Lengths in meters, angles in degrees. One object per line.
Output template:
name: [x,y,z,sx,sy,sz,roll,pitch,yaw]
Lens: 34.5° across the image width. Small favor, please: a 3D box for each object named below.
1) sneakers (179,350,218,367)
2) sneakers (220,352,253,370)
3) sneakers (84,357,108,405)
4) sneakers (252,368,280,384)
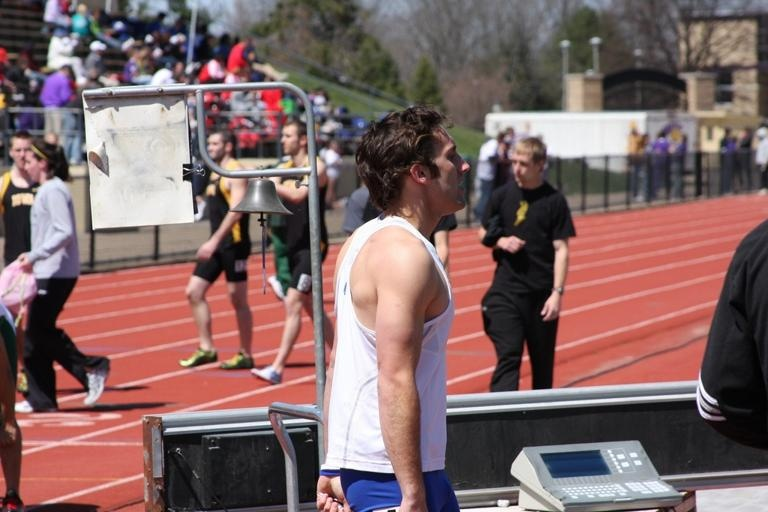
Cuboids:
sneakers: [-1.947,1.034,12.775,0.445,0.218,0.169,-3,4,-5]
sneakers: [-1.512,1.057,12.669,0.398,0.193,0.145,2,1,7]
sneakers: [-2.704,1.143,11.519,0.202,0.527,0.167,12,7,-24]
sneakers: [-1.152,1.152,11.974,0.253,0.120,0.096,22,-1,-3]
